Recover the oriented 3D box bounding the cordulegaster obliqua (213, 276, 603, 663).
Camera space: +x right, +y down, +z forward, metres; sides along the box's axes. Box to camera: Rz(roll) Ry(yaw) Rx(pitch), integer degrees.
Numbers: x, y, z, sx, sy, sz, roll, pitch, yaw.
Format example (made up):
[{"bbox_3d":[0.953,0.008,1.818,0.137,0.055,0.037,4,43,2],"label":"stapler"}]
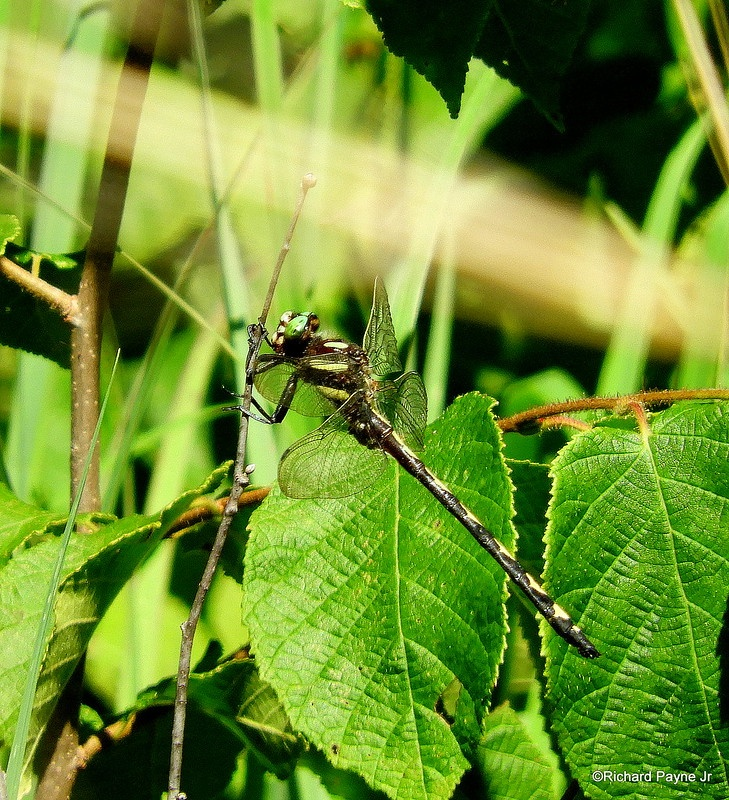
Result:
[{"bbox_3d":[0.024,0.013,1.214,0.226,0.538,0.111,-23,-27,-45],"label":"cordulegaster obliqua"}]
